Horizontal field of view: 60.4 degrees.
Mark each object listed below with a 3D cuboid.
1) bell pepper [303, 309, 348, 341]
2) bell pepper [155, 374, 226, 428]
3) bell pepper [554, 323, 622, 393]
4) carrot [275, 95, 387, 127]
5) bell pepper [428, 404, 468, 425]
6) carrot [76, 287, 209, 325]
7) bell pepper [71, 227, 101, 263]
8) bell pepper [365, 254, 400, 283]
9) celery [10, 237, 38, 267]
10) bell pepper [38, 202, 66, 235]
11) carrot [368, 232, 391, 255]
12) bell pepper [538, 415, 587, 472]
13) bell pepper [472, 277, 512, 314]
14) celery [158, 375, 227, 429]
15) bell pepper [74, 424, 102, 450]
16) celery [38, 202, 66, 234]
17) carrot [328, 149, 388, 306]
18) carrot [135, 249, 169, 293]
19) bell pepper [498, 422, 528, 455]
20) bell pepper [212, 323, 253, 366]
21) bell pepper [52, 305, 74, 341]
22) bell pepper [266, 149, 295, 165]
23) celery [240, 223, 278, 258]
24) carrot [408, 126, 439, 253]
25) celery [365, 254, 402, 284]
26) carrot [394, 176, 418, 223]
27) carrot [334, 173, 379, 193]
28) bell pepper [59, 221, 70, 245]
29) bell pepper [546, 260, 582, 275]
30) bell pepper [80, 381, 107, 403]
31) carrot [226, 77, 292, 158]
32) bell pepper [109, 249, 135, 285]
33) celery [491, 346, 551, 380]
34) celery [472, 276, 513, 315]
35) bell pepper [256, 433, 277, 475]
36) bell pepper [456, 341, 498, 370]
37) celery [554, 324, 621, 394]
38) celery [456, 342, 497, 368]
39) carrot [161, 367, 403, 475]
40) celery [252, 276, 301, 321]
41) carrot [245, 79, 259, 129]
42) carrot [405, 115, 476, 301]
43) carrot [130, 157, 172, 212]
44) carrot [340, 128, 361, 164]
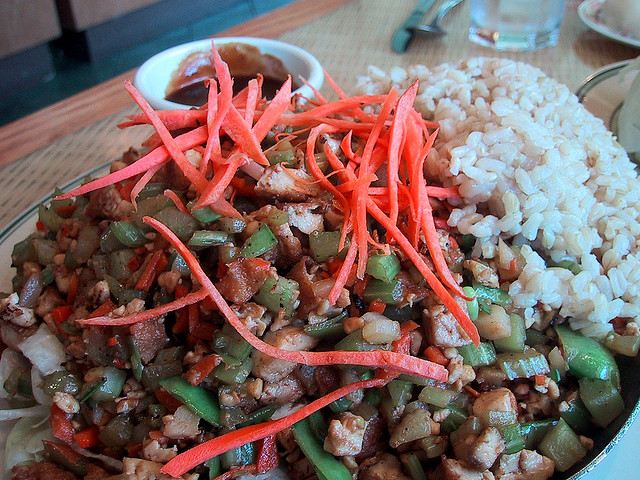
[{"bbox_3d":[0.007,0.234,1.641,0.061,0.051,0.160,30,20,38],"label":"bell pepper"},{"bbox_3d":[-0.387,0.500,1.696,0.220,0.350,0.087,18,85,-11],"label":"bell pepper"},{"bbox_3d":[0.844,0.365,1.768,0.226,0.097,0.165,20,38,6],"label":"bell pepper"},{"bbox_3d":[0.036,-0.442,1.895,0.362,0.054,0.099,-20,42,-15],"label":"carrot"},{"bbox_3d":[0.391,0.521,1.664,0.125,0.056,0.050,2,47,1],"label":"bell pepper"},{"bbox_3d":[-0.516,0.198,1.654,0.336,0.050,0.065,-12,74,5],"label":"carrot"},{"bbox_3d":[-0.783,0.022,1.888,0.080,0.033,0.133,33,92,10],"label":"bell pepper"},{"bbox_3d":[0.189,0.080,1.637,0.074,0.072,0.095,37,29,17],"label":"bell pepper"},{"bbox_3d":[-1.086,0.050,2.052,0.097,0.039,0.111,18,92,16],"label":"celery"},{"bbox_3d":[-1.028,-0.055,2.088,0.156,0.038,0.130,19,81,49],"label":"bell pepper"},{"bbox_3d":[0.177,0.012,1.642,0.019,0.032,0.103,6,24,-45],"label":"carrot"},{"bbox_3d":[0.728,0.611,1.633,0.120,0.065,0.110,-31,55,-25],"label":"bell pepper"},{"bbox_3d":[0.517,0.158,1.726,0.107,0.120,0.042,-7,80,-56],"label":"bell pepper"},{"bbox_3d":[-0.379,0.487,1.685,0.245,0.265,0.074,22,80,23],"label":"celery"},{"bbox_3d":[-0.711,0.605,1.693,0.070,0.051,0.052,-12,49,-10],"label":"bell pepper"},{"bbox_3d":[-1.002,-0.089,2.077,0.103,0.100,0.035,12,20,19],"label":"celery"},{"bbox_3d":[0.157,-0.116,1.691,0.084,0.029,0.662,10,63,29],"label":"carrot"},{"bbox_3d":[-0.523,0.101,1.709,0.068,0.045,0.139,28,84,38],"label":"carrot"},{"bbox_3d":[0.574,0.583,1.630,0.077,0.023,0.082,-7,87,-24],"label":"bell pepper"},{"bbox_3d":[-0.248,0.304,1.646,0.114,0.115,0.036,47,22,15],"label":"bell pepper"},{"bbox_3d":[-0.835,0.275,1.789,0.090,0.033,0.091,-7,88,8],"label":"bell pepper"},{"bbox_3d":[-0.130,-0.269,1.780,0.059,0.025,0.065,-4,47,13],"label":"bell pepper"},{"bbox_3d":[-0.182,0.001,1.640,0.118,0.028,0.069,-34,83,-3],"label":"celery"},{"bbox_3d":[0.318,-0.185,1.665,0.046,0.046,0.443,5,77,23],"label":"carrot"},{"bbox_3d":[0.192,0.082,1.639,0.079,0.079,0.104,37,29,21],"label":"celery"},{"bbox_3d":[0.243,-0.135,1.659,0.032,0.034,0.235,9,43,-22],"label":"carrot"},{"bbox_3d":[0.110,-0.171,1.654,0.101,0.023,0.029,-29,63,14],"label":"carrot"},{"bbox_3d":[-0.915,-0.031,1.968,0.020,0.048,0.063,7,54,-43],"label":"bell pepper"},{"bbox_3d":[0.812,0.085,1.825,0.108,0.027,0.044,15,50,13],"label":"bell pepper"},{"bbox_3d":[-0.680,0.455,1.651,0.084,0.059,0.028,-8,47,-7],"label":"bell pepper"},{"bbox_3d":[-0.170,-0.399,1.796,0.108,0.053,0.380,38,73,-14],"label":"carrot"},{"bbox_3d":[-0.635,0.083,1.755,0.063,0.095,0.099,-1,88,-2],"label":"bell pepper"},{"bbox_3d":[0.626,0.381,1.713,0.170,0.045,0.094,-8,49,-7],"label":"celery"},{"bbox_3d":[0.542,0.194,1.749,0.114,0.036,0.121,-21,80,-23],"label":"celery"},{"bbox_3d":[-0.158,0.625,1.612,0.028,0.101,0.104,8,57,12],"label":"bell pepper"},{"bbox_3d":[0.497,0.369,1.699,0.103,0.028,0.103,10,75,-20],"label":"bell pepper"},{"bbox_3d":[0.847,0.373,1.757,0.216,0.091,0.158,23,48,19],"label":"celery"},{"bbox_3d":[0.495,0.357,1.706,0.093,0.026,0.096,5,73,-17],"label":"celery"},{"bbox_3d":[-0.130,0.524,1.602,0.701,0.111,0.076,-22,96,-25],"label":"carrot"},{"bbox_3d":[-0.103,0.182,1.649,0.043,0.147,0.124,1,60,-43],"label":"celery"},{"bbox_3d":[-0.210,-0.427,1.726,0.035,0.026,0.163,5,80,-8],"label":"carrot"},{"bbox_3d":[0.325,-0.050,1.671,0.113,0.078,0.788,5,68,-36],"label":"carrot"},{"bbox_3d":[-0.537,-0.172,1.751,0.035,0.047,0.185,29,79,25],"label":"carrot"},{"bbox_3d":[0.089,-0.289,1.738,0.029,0.074,0.103,-14,69,22],"label":"carrot"}]
